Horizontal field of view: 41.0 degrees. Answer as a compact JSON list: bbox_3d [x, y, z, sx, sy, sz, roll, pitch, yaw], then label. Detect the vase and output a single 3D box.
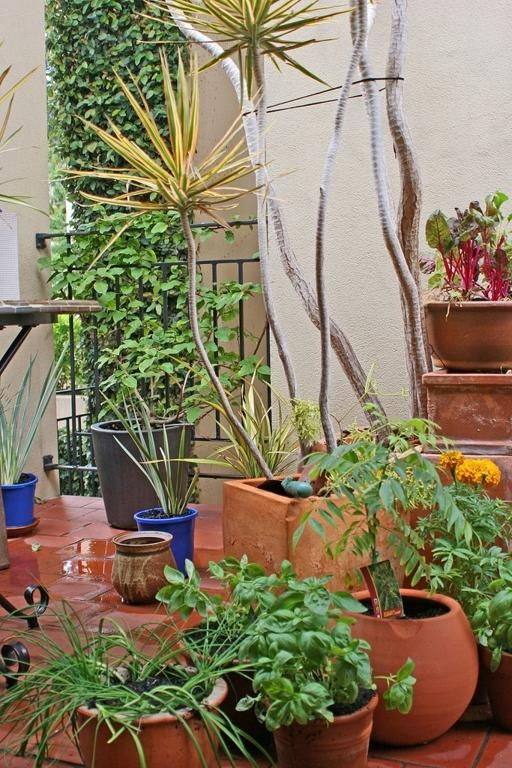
[{"bbox_3d":[-0.316,0.528,1.971,0.173,0.157,0.164,-5,3,-3],"label":"vase"}]
